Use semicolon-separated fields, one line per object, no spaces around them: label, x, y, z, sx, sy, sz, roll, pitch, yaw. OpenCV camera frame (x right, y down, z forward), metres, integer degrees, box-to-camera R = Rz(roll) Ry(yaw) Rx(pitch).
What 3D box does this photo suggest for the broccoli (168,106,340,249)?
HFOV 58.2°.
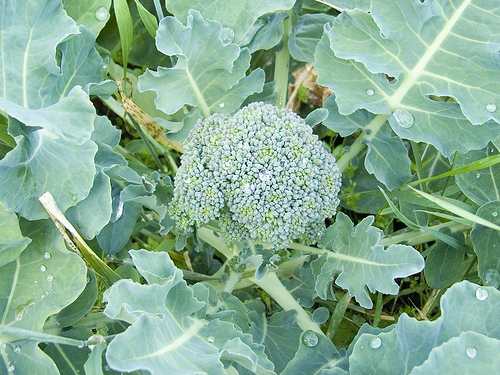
broccoli;0.019;-0.115;1.112;0.399;0.182;0.406;1;81;-14
